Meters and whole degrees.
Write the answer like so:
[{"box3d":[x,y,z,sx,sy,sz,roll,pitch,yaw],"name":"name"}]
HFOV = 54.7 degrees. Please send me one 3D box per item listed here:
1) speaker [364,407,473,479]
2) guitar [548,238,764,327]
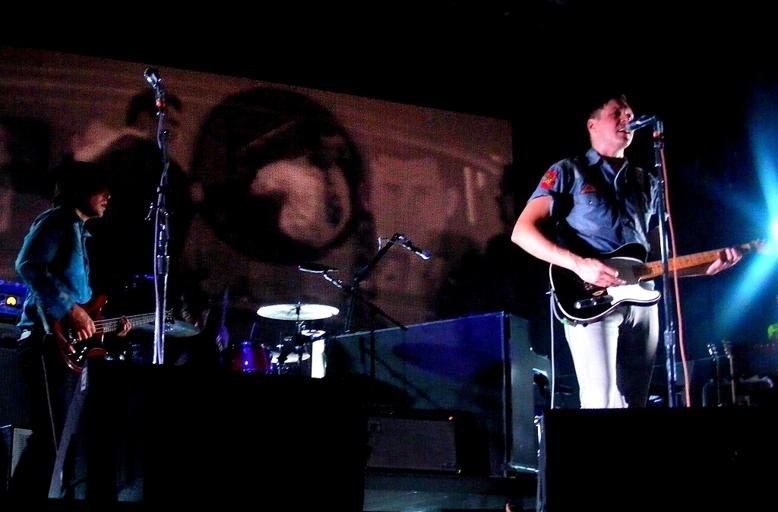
[{"box3d":[0.217,1.339,5.403,0.730,0.417,0.136,3,-16,-6],"name":"speaker"},{"box3d":[1.597,0.187,4.721,1.135,0.556,0.462,7,-17,-21],"name":"guitar"}]
